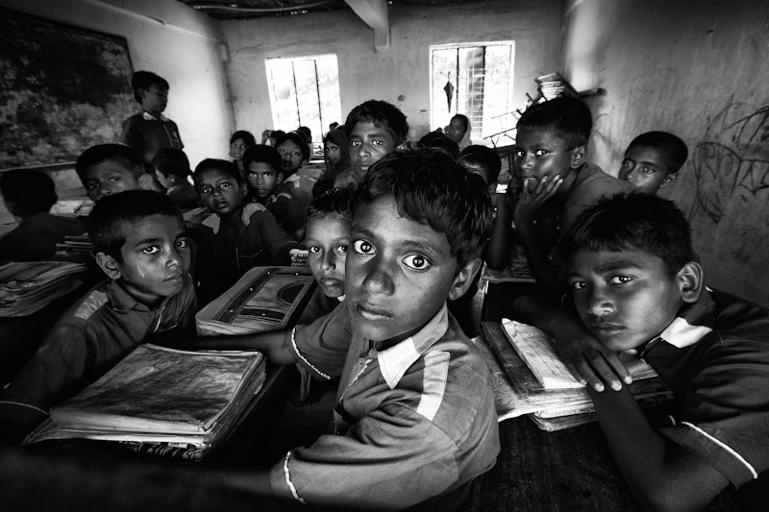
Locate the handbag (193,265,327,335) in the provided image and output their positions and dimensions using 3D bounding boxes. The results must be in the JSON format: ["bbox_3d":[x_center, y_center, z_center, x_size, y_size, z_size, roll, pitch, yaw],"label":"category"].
[{"bbox_3d":[-0.568,0.231,2.526,0.423,0.147,0.573,11,28,11],"label":"handbag"}]
